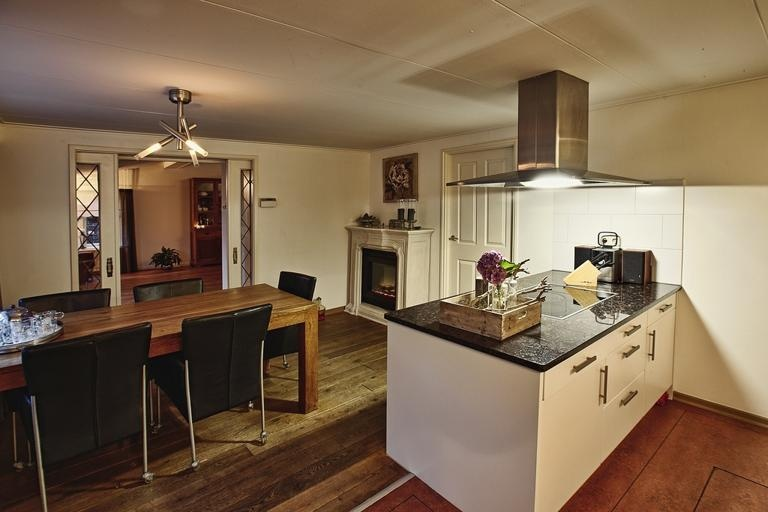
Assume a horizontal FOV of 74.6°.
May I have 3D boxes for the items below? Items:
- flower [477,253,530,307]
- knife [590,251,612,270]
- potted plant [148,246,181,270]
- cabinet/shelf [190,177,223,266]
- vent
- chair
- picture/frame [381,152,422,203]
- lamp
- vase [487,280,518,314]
[{"bbox_3d":[0.825,0.147,3.814,0.394,0.381,0.375,-3,6,-36],"label":"flower"},{"bbox_3d":[2.012,0.033,4.657,0.057,0.171,0.124,14,-3,-44],"label":"knife"},{"bbox_3d":[-4.427,0.033,10.253,0.491,0.331,0.486,2,-4,-43],"label":"potted plant"},{"bbox_3d":[-3.801,-0.738,10.845,0.649,1.844,0.369,-5,9,-26],"label":"cabinet/shelf"},{"bbox_3d":[1.333,-0.978,4.046,1.117,0.734,1.104,0,1,-44],"label":"vent"},{"bbox_3d":[-1.620,0.913,4.477,1.935,1.036,0.919,-6,9,-30],"label":"chair"},{"bbox_3d":[0.254,-1.069,6.817,0.052,0.683,0.741,-3,6,-35],"label":"picture/frame"},{"bbox_3d":[-1.785,-1.136,4.395,0.674,0.557,0.648,6,10,16],"label":"lamp"},{"bbox_3d":[0.852,0.278,3.640,0.262,0.241,0.143,-1,5,-16],"label":"vase"}]
